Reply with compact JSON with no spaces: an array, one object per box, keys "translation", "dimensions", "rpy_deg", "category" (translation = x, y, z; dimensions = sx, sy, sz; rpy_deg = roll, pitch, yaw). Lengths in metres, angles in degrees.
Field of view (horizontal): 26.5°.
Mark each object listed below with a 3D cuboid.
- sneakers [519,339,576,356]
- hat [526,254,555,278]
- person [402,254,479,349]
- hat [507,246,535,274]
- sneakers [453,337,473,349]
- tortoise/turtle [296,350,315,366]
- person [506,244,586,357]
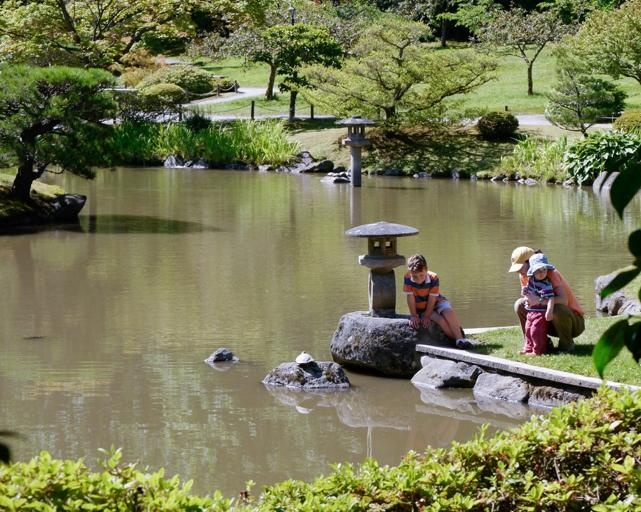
[{"translation":[2.578,1.075,15.541],"dimensions":[0.373,0.135,0.282],"rpy_deg":[1,-3,-36],"category":"sneakers"},{"translation":[2.459,0.140,15.555],"dimensions":[0.245,0.161,0.278],"rpy_deg":[-4,-5,-8],"category":"hat"},{"translation":[1.320,0.522,15.575],"dimensions":[0.480,0.991,0.925],"rpy_deg":[-20,24,-29],"category":"person"},{"translation":[2.345,0.048,15.814],"dimensions":[0.360,0.200,0.237],"rpy_deg":[-42,15,-28],"category":"hat"},{"translation":[1.633,1.041,15.677],"dimensions":[0.227,0.101,0.083],"rpy_deg":[-4,7,-33],"category":"sneakers"},{"translation":[-0.180,1.197,15.637],"dimensions":[0.222,0.138,0.213],"rpy_deg":[0,6,-1],"category":"tortoise/turtle"},{"translation":[2.599,0.514,15.789],"dimensions":[0.831,1.214,0.763],"rpy_deg":[0,10,39],"category":"person"}]
